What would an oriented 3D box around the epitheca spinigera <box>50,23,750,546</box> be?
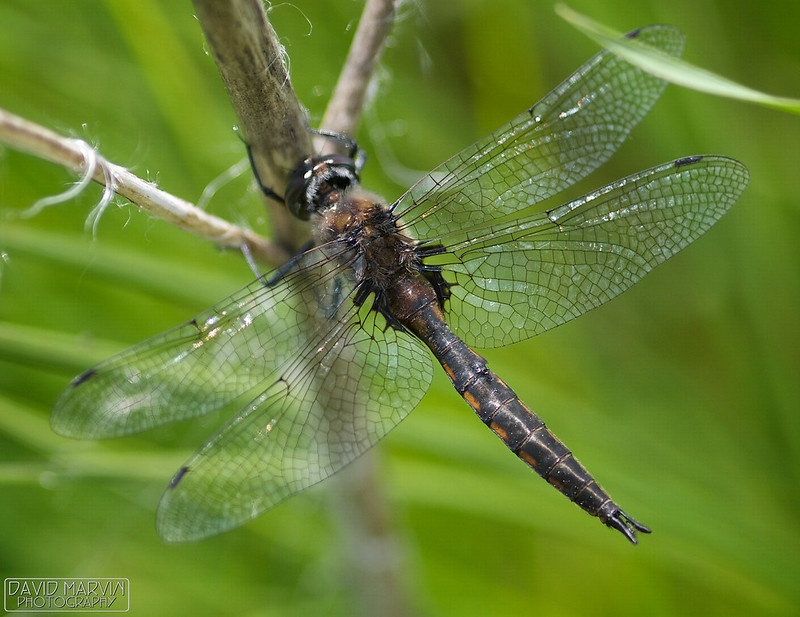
[{"bbox_3d":[-0.029,-0.037,2.819,0.655,2.090,1.464,5,-70,3],"label":"epitheca spinigera"}]
